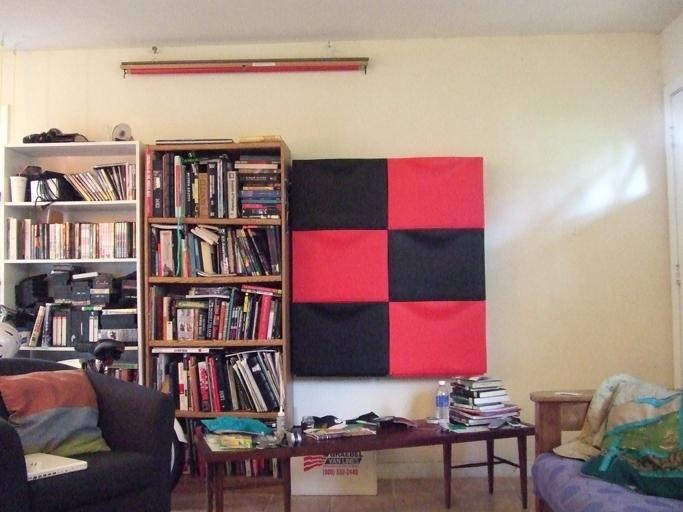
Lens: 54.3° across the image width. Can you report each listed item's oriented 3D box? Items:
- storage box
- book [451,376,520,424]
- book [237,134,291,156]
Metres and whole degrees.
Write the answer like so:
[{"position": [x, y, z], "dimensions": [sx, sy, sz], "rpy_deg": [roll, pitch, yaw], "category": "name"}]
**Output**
[{"position": [-0.054, 1.512, 4.968], "dimensions": [0.656, 0.355, 0.421], "rpy_deg": [-2, -2, 1], "category": "storage box"}, {"position": [0.986, 0.987, 4.588], "dimensions": [0.347, 0.168, 0.368], "rpy_deg": [1, -6, -18], "category": "book"}, {"position": [-0.587, -0.835, 5.003], "dimensions": [0.358, 0.221, 0.350], "rpy_deg": [-2, -1, 4], "category": "book"}]
